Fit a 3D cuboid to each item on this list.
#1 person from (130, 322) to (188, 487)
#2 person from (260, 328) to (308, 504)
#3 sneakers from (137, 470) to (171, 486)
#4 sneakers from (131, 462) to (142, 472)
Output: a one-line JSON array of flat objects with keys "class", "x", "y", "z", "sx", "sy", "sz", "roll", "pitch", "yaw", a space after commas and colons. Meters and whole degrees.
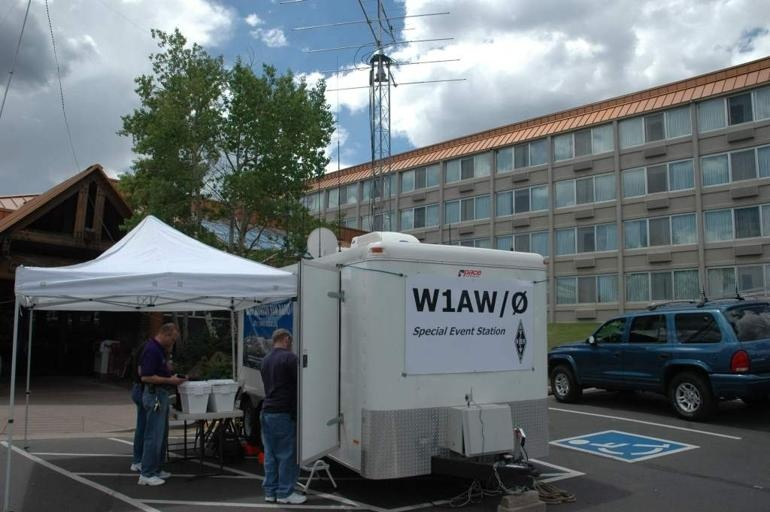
[{"class": "person", "x": -4.551, "y": 2.951, "z": 13.887, "sx": 0.689, "sy": 3.068, "sz": 0.887, "roll": 2, "pitch": 5, "yaw": 23}, {"class": "person", "x": -1.962, "y": 3.035, "z": 13.059, "sx": 0.709, "sy": 3.132, "sz": 0.971, "roll": -4, "pitch": 6, "yaw": -37}, {"class": "sneakers", "x": -4.595, "y": 4.427, "z": 13.802, "sx": 0.607, "sy": 0.280, "sz": 0.246, "roll": -2, "pitch": 0, "yaw": -14}, {"class": "sneakers", "x": -5.147, "y": 4.369, "z": 14.330, "sx": 0.112, "sy": 0.158, "sz": 0.341, "roll": 7, "pitch": -15, "yaw": -40}]
